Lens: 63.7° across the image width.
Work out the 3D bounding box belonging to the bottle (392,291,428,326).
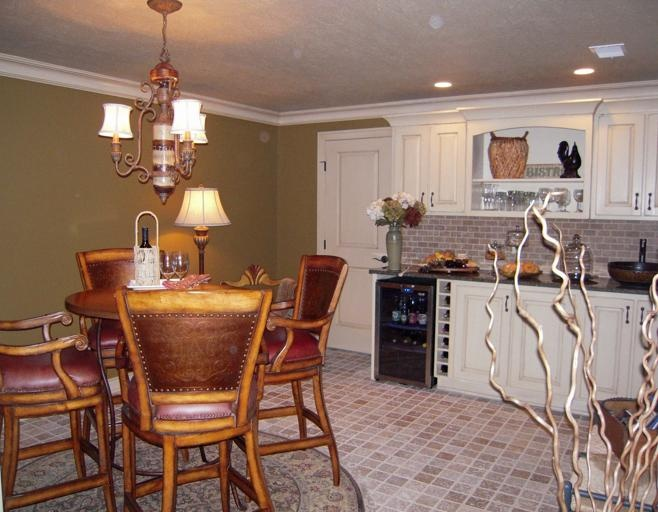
[{"bbox_3d":[0.791,0.490,5.036,0.318,0.292,0.183,5,2,33],"label":"bottle"}]

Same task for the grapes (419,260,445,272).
[{"bbox_3d":[1.001,0.091,5.082,0.250,0.104,0.170,5,9,31],"label":"grapes"}]

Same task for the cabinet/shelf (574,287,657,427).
[{"bbox_3d":[2.312,0.735,4.276,0.434,0.900,0.173,5,10,31],"label":"cabinet/shelf"}]

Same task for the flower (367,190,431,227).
[{"bbox_3d":[0.669,-0.432,5.395,0.563,0.437,0.642,9,12,21],"label":"flower"}]

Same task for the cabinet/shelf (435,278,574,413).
[{"bbox_3d":[1.421,0.701,4.176,1.226,1.034,0.475,1,-1,25],"label":"cabinet/shelf"}]

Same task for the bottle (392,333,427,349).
[{"bbox_3d":[0.776,0.790,5.058,0.214,0.070,0.156,1,-2,36],"label":"bottle"}]

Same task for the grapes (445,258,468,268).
[{"bbox_3d":[1.230,0.063,5.042,0.225,0.073,0.138,1,7,5],"label":"grapes"}]

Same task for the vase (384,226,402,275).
[{"bbox_3d":[0.648,-0.087,5.264,0.277,0.413,0.276,0,1,17],"label":"vase"}]
